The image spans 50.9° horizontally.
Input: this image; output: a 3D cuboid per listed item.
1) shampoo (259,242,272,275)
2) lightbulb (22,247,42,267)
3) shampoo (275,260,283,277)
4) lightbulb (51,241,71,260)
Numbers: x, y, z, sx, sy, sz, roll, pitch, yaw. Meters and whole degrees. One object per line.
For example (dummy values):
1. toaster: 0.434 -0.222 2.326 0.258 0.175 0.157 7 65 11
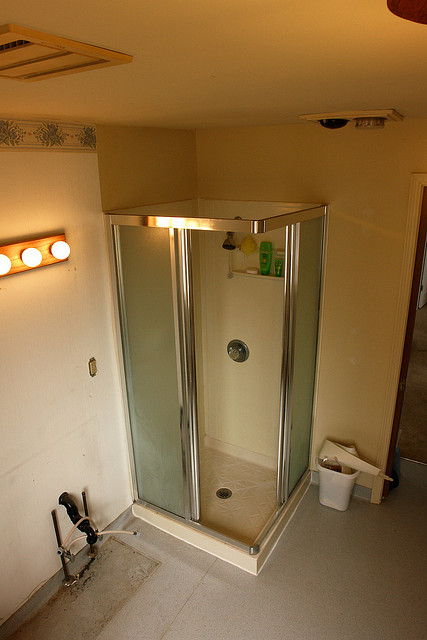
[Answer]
1. shampoo: 0.346 -0.406 2.976 0.079 0.198 0.109 -1 -4 5
2. lightbulb: -0.778 -0.267 1.923 0.036 0.079 0.087 -3 -5 37
3. shampoo: 0.430 -0.338 2.956 0.047 0.110 0.029 -1 -4 13
4. lightbulb: -0.714 -0.325 2.082 0.036 0.081 0.088 -3 -5 33
